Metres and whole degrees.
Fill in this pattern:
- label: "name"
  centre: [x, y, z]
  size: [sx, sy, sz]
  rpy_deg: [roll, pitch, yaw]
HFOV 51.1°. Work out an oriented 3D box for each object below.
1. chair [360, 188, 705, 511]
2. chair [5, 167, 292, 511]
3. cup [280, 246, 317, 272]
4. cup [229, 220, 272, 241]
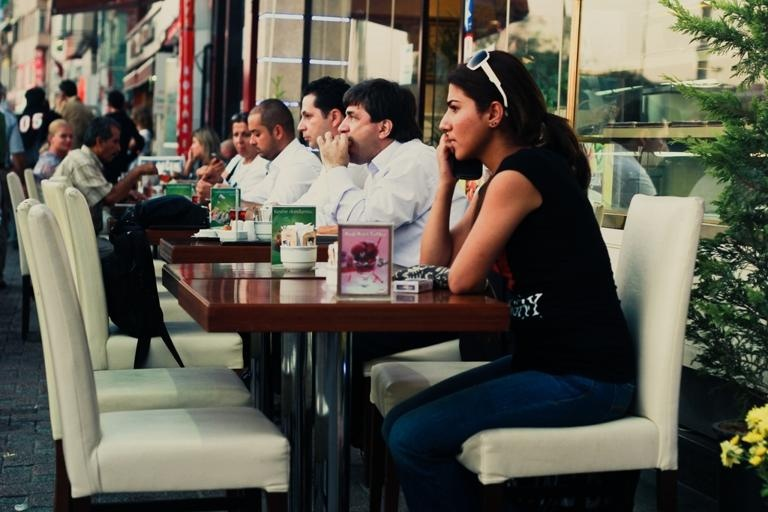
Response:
- label: "chair"
  centre: [0.411, 0.379, 3.468]
  size: [1.204, 1.807, 1.099]
  rpy_deg: [1, 2, -9]
- label: "chair"
  centre: [-0.960, 0.152, 3.230]
  size: [1.049, 1.630, 1.035]
  rpy_deg: [-2, 7, -12]
- label: "cup"
  centre: [-0.340, 0.002, 3.172]
  size: [0.096, 0.070, 0.105]
  rpy_deg: [1, 2, 1]
- label: "cup"
  centre: [-0.665, -0.140, 4.090]
  size: [0.178, 0.081, 0.143]
  rpy_deg: [5, 5, 38]
